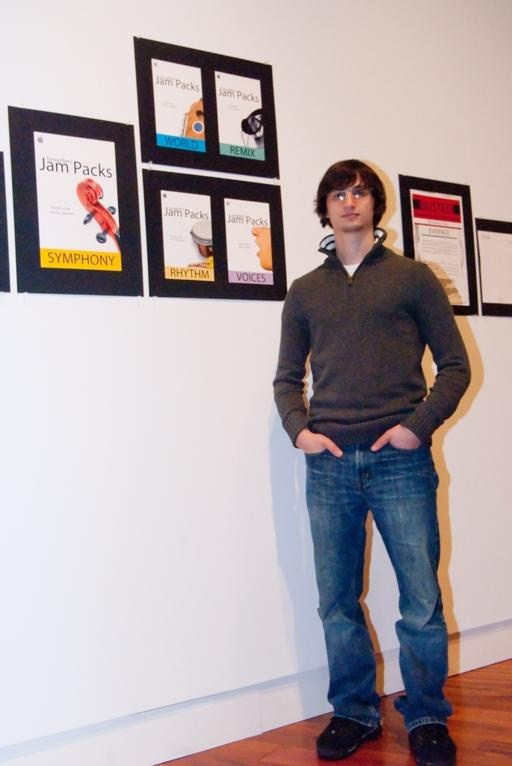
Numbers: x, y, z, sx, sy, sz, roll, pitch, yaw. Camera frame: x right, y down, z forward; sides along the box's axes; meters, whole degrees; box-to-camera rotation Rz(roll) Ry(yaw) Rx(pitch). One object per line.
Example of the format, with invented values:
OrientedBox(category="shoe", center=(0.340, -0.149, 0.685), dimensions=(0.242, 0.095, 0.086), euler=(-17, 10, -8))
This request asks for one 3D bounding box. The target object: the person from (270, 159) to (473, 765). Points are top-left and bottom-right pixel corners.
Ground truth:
OrientedBox(category="person", center=(0.279, 0.154, 1.728), dimensions=(0.518, 1.500, 0.404), euler=(1, 3, 21))

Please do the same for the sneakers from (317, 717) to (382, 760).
OrientedBox(category="sneakers", center=(0.221, 0.869, 1.639), dimensions=(0.060, 0.067, 0.146), euler=(-10, -15, 43))
